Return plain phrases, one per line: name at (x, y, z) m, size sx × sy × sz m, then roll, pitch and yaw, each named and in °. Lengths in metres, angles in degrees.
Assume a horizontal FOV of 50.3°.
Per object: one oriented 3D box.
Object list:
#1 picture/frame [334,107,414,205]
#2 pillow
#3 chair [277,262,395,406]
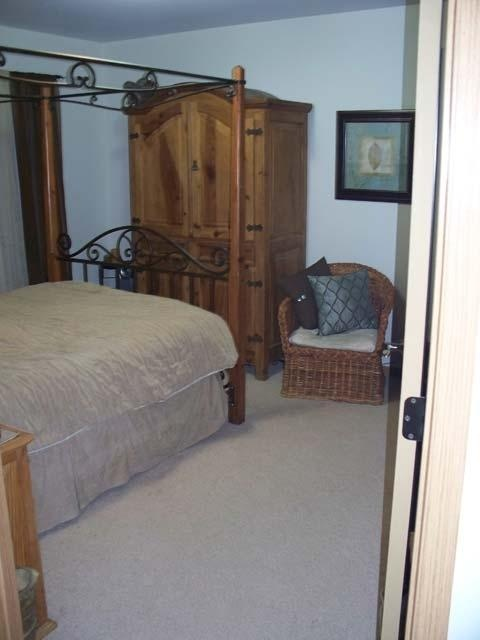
picture/frame at (1.058, -1.273, 3.979) m, size 0.565 × 0.724 × 0.040 m, roll 10°, pitch 50°, yaw 22°
pillow at (0.665, -0.134, 3.737) m, size 0.519 × 0.575 × 0.170 m, roll -11°, pitch -9°, yaw -3°
chair at (0.670, 0.084, 3.999) m, size 0.876 × 1.234 × 0.900 m, roll 1°, pitch 1°, yaw 18°
